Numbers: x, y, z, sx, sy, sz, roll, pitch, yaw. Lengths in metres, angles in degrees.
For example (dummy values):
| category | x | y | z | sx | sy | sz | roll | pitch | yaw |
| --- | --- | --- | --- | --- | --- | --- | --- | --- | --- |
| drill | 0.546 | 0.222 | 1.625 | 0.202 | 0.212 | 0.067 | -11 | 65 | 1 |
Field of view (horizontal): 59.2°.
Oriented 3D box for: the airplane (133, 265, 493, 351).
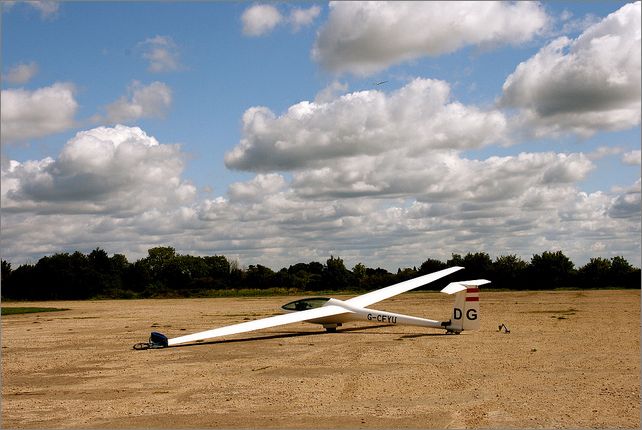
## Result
| category | x | y | z | sx | sy | sz | roll | pitch | yaw |
| --- | --- | --- | --- | --- | --- | --- | --- | --- | --- |
| airplane | -0.382 | 6.108 | 39.202 | 22.559 | 4.421 | 10.934 | 0 | -2 | -2 |
